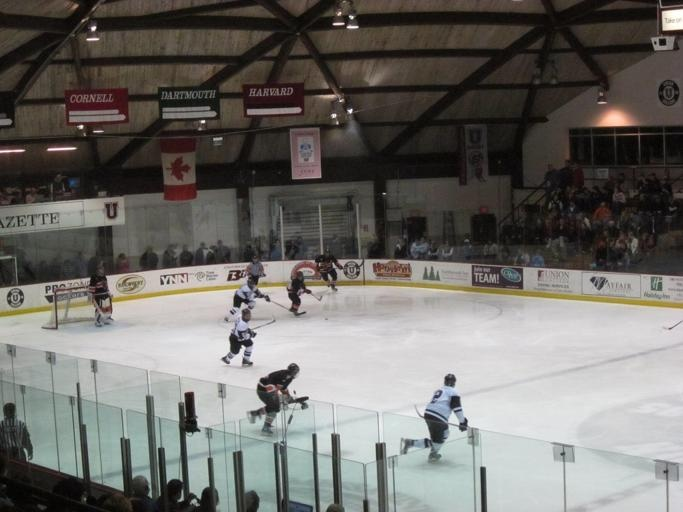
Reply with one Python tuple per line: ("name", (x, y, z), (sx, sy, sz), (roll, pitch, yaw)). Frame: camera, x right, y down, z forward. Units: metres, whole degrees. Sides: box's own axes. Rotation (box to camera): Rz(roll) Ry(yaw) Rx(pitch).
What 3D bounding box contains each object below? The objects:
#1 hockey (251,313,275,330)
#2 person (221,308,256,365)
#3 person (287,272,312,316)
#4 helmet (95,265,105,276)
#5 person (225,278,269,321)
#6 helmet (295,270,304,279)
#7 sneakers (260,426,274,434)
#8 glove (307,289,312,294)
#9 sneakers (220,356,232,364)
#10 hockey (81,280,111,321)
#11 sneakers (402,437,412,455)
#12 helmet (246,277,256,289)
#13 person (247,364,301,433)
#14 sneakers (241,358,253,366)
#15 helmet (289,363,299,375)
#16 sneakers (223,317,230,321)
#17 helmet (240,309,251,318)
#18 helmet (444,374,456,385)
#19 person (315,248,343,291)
("hockey", (-2.027, 1.779, 24.664), (0.156, 0.197, 1.354), (11, 11, 18))
("person", (-2.207, 1.786, 20.245), (0.679, 1.432, 0.625), (0, 24, -15))
("person", (-1.206, 1.152, 26.582), (0.731, 1.385, 0.623), (-4, 25, -12))
("helmet", (-6.625, 0.411, 25.224), (0.273, 0.295, 0.255), (3, 7, 21))
("person", (-2.343, 1.096, 23.148), (1.008, 1.174, 0.408), (7, 23, -10))
("helmet", (-1.148, 0.523, 25.274), (0.250, 0.267, 0.100), (-2, -3, -28))
("sneakers", (-1.110, 2.629, 13.881), (0.142, 0.147, 0.088), (0, 6, 2))
("glove", (-0.948, 1.049, 26.931), (0.234, 0.164, 0.394), (-1, -1, 1))
("sneakers", (-2.579, 2.342, 20.576), (0.110, 0.133, 0.300), (-1, 10, -31))
("hockey", (-6.471, 1.106, 24.991), (0.568, 1.184, 0.365), (-13, 13, -38))
("sneakers", (0.965, 2.799, 13.585), (0.121, 0.279, 0.091), (-3, 9, -13))
("helmet", (-2.361, 0.717, 24.188), (0.286, 0.284, 0.240), (6, 17, 30))
("person", (-0.996, 2.308, 15.539), (0.979, 1.350, 0.433), (1, 8, 4))
("sneakers", (-2.091, 2.379, 20.495), (0.218, 0.145, 0.116), (0, 4, -1))
("helmet", (-0.865, 2.062, 16.690), (0.159, 0.203, 0.211), (7, 14, 27))
("sneakers", (-3.083, 1.715, 24.769), (0.141, 0.146, 0.105), (10, 15, 42))
("helmet", (-2.054, 1.260, 19.762), (0.195, 0.199, 0.150), (-9, 17, -32))
("helmet", (1.851, 2.142, 15.577), (0.196, 0.263, 0.254), (2, 7, 7))
("person", (-0.378, 0.472, 29.073), (0.812, 1.494, 0.758), (-1, 20, 21))
